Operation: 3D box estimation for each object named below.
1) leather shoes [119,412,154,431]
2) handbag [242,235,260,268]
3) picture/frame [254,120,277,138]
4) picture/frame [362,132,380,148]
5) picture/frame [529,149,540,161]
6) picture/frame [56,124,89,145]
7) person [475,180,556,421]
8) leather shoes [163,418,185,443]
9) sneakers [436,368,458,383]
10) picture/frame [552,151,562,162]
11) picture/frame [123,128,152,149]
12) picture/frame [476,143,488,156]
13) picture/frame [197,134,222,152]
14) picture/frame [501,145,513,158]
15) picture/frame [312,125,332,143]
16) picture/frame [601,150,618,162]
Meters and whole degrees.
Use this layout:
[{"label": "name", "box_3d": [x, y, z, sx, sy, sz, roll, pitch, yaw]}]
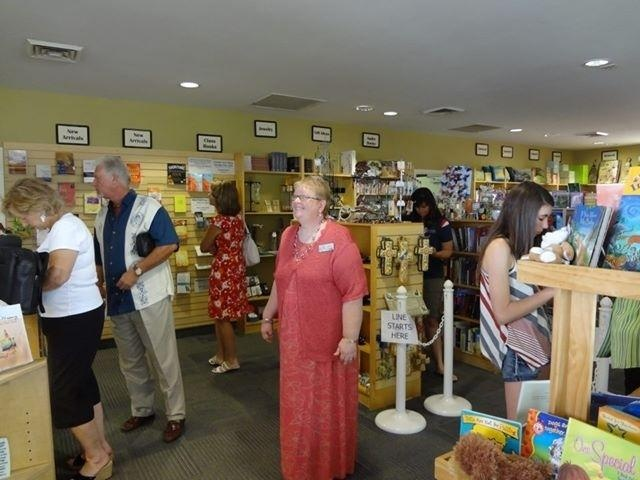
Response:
[{"label": "leather shoes", "box_3d": [-1.529, 1.532, 3.780, 0.091, 0.105, 0.274, 10, 0, 35]}, {"label": "handbag", "box_3d": [-0.870, 0.138, 5.629, 0.230, 0.496, 0.476, -7, 6, -12]}, {"label": "picture/frame", "box_3d": [-0.880, -1.789, 7.091, 0.306, 0.206, 0.030, -2, 6, -32]}, {"label": "picture/frame", "box_3d": [0.908, -1.852, 8.141, 0.323, 0.217, 0.042, -3, 7, -36]}, {"label": "picture/frame", "box_3d": [5.163, -2.100, 10.816, 0.294, 0.241, 0.030, -3, 5, -32]}, {"label": "picture/frame", "box_3d": [-3.202, -1.383, 5.765, 0.333, 0.229, 0.044, -2, 5, -31]}, {"label": "person", "box_3d": [1.011, 0.338, 2.350, 0.364, 1.289, 0.476, 2, 5, 26]}, {"label": "leather shoes", "box_3d": [-1.166, 1.531, 3.576, 0.089, 0.092, 0.220, 1, -6, 0]}, {"label": "sneakers", "box_3d": [1.354, 1.435, 4.731, 0.090, 0.112, 0.259, -4, 0, -19]}, {"label": "picture/frame", "box_3d": [5.965, -2.149, 11.306, 0.308, 0.216, 0.032, -5, 5, -38]}, {"label": "picture/frame", "box_3d": [-2.530, -1.421, 6.155, 0.335, 0.221, 0.044, -4, 7, -37]}, {"label": "picture/frame", "box_3d": [3.551, -2.003, 9.818, 0.481, 0.294, 0.079, -5, 7, -42]}, {"label": "picture/frame", "box_3d": [-1.664, -1.470, 6.669, 0.333, 0.209, 0.043, -2, 3, -36]}, {"label": "picture/frame", "box_3d": [4.267, -2.071, 10.264, 0.302, 0.249, 0.031, -2, 5, -33]}, {"label": "picture/frame", "box_3d": [0.011, -1.838, 7.625, 0.331, 0.221, 0.043, -2, 5, -34]}, {"label": "picture/frame", "box_3d": [7.143, -2.117, 11.025, 0.028, 0.236, 0.332, 1, 4, -23]}]
